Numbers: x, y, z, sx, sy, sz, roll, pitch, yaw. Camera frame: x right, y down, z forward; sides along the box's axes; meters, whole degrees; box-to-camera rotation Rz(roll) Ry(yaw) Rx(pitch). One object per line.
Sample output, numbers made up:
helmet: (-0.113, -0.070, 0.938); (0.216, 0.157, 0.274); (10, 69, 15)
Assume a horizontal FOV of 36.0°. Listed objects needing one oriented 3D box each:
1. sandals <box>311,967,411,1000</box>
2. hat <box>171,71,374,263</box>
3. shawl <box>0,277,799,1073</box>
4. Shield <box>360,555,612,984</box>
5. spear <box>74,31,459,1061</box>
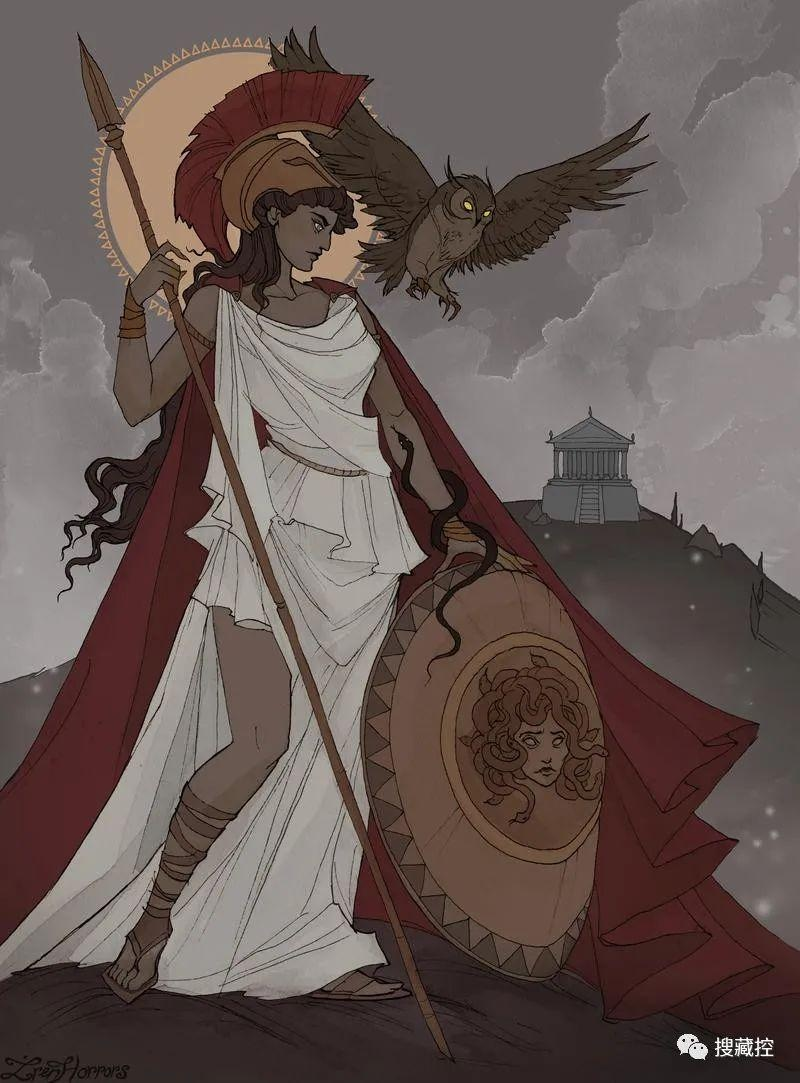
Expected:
sandals: (-0.106, 1.364, 3.853); (0.341, 0.109, 0.102); (4, -14, -1)
hat: (-0.492, -1.263, 4.033); (0.780, 0.223, 0.870); (-32, 7, -12)
shawl: (-0.101, 0.481, 3.837); (3.062, 2.270, 0.405); (-1, 0, -10)
Shield: (0.158, 0.703, 4.018); (1.095, 1.038, 0.293); (-11, 5, -22)
spear: (-0.465, 0.115, 3.818); (0.137, 3.385, 0.153); (-21, 0, 4)
